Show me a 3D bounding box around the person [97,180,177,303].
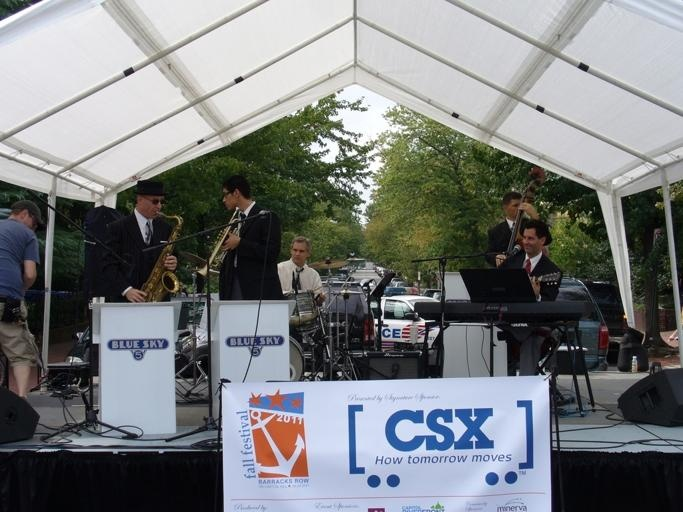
[{"bbox_3d":[-2.128,-0.087,7.698,0.531,1.934,0.582,0,0,41],"label":"person"}]

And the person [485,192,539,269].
[{"bbox_3d":[2.079,-0.333,8.928,0.576,1.146,0.560,2,3,7],"label":"person"}]

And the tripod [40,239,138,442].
[{"bbox_3d":[-2.480,0.890,7.188,0.850,2.024,0.881,0,5,-30],"label":"tripod"}]

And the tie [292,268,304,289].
[{"bbox_3d":[-0.584,0.325,9.623,0.050,0.225,0.153,4,-5,17],"label":"tie"}]

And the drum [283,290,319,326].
[{"bbox_3d":[-0.463,0.639,8.776,0.398,0.392,0.370,0,-7,-27],"label":"drum"}]

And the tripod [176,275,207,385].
[{"bbox_3d":[-2.120,1.116,10.247,0.526,1.756,0.565,0,4,-35],"label":"tripod"}]

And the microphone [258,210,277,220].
[{"bbox_3d":[-0.802,-0.435,7.739,0.124,0.073,0.189,1,-16,1],"label":"microphone"}]

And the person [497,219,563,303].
[{"bbox_3d":[2.175,0.042,8.214,0.623,1.062,1.029,-1,-12,2],"label":"person"}]

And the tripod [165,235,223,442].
[{"bbox_3d":[-1.447,0.859,7.160,0.461,1.841,0.550,0,4,-7],"label":"tripod"}]

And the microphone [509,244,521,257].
[{"bbox_3d":[1.977,-0.052,8.258,0.107,0.099,0.385,-5,12,18],"label":"microphone"}]
